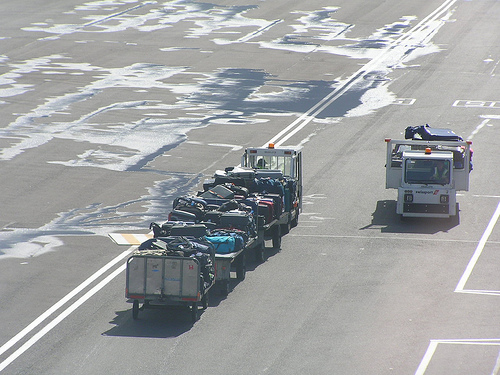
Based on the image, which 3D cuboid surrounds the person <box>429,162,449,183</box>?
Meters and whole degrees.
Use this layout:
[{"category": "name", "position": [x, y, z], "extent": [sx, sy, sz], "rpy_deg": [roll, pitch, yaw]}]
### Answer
[{"category": "person", "position": [7.336, -0.570, 36.428], "extent": [0.759, 0.746, 0.230], "rpy_deg": [2, 14, 12]}]

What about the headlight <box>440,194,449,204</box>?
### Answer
[{"category": "headlight", "position": [7.537, 0.467, 36.397], "extent": [0.380, 0.311, 0.333], "rpy_deg": [2, -2, 15]}]

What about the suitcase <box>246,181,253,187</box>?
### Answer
[{"category": "suitcase", "position": [-0.071, -0.119, 35.478], "extent": [0.352, 0.283, 0.171], "rpy_deg": [-3, -13, 10]}]

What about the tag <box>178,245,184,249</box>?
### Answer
[{"category": "tag", "position": [-2.233, 1.915, 29.777], "extent": [0.177, 0.050, 0.349], "rpy_deg": [-2, 12, -7]}]

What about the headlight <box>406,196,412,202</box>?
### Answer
[{"category": "headlight", "position": [6.176, 0.451, 36.594], "extent": [0.263, 0.206, 0.057], "rpy_deg": [2, 2, 2]}]

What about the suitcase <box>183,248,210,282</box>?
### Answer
[{"category": "suitcase", "position": [-1.636, 2.478, 29.506], "extent": [0.693, 1.005, 0.868], "rpy_deg": [6, 15, 28]}]

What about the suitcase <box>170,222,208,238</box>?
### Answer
[{"category": "suitcase", "position": [-2.114, 1.506, 31.618], "extent": [1.224, 0.375, 0.433], "rpy_deg": [-2, 13, -5]}]

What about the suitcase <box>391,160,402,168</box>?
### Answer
[{"category": "suitcase", "position": [5.939, -0.938, 38.261], "extent": [0.395, 0.276, 0.186], "rpy_deg": [1, 14, 8]}]

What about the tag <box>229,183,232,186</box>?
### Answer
[{"category": "tag", "position": [-0.774, -0.079, 35.302], "extent": [0.033, 0.101, 0.120], "rpy_deg": [4, 3, -20]}]

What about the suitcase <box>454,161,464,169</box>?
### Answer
[{"category": "suitcase", "position": [8.343, -0.865, 37.515], "extent": [0.372, 0.302, 0.157], "rpy_deg": [-1, 14, -1]}]

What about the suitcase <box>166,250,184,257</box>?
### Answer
[{"category": "suitcase", "position": [-2.364, 2.113, 28.996], "extent": [0.544, 0.183, 0.757], "rpy_deg": [-2, 12, -4]}]

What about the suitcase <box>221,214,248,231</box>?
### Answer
[{"category": "suitcase", "position": [-0.555, 1.232, 32.245], "extent": [0.709, 0.536, 0.148], "rpy_deg": [4, -6, 10]}]

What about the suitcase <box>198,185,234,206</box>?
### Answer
[{"category": "suitcase", "position": [-1.215, 0.275, 34.405], "extent": [1.009, 0.346, 0.689], "rpy_deg": [-14, 39, -32]}]

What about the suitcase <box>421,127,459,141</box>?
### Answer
[{"category": "suitcase", "position": [8.042, -2.247, 39.946], "extent": [1.508, 0.425, 2.071], "rpy_deg": [1, 12, 7]}]

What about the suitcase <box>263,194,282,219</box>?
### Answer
[{"category": "suitcase", "position": [0.755, 0.722, 34.056], "extent": [0.756, 1.101, 0.630], "rpy_deg": [2, 37, 9]}]

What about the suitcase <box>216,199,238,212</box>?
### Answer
[{"category": "suitcase", "position": [-0.846, 0.700, 33.331], "extent": [0.757, 0.370, 0.623], "rpy_deg": [-1, 13, -1]}]

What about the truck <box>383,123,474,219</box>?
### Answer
[{"category": "truck", "position": [7.292, -0.718, 38.591], "extent": [2.955, 2.237, 4.545], "rpy_deg": [1, 6, 7]}]

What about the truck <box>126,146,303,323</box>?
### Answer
[{"category": "truck", "position": [-1.385, 1.470, 33.221], "extent": [2.816, 3.279, 11.285], "rpy_deg": [10, 25, 21]}]
